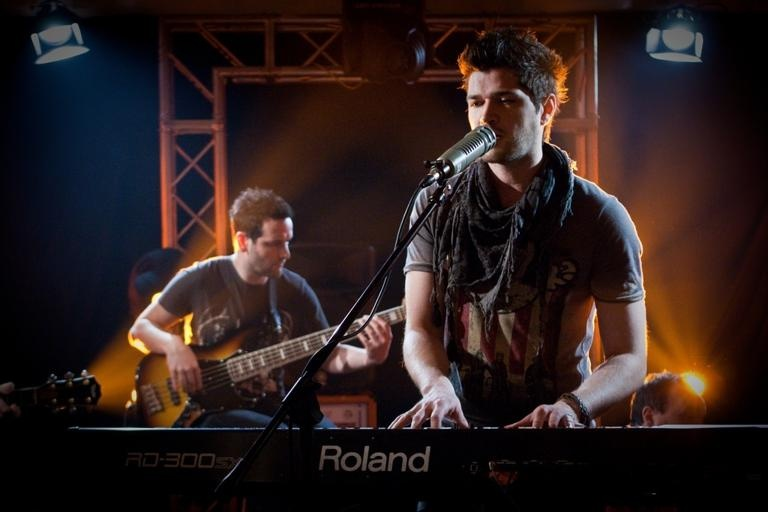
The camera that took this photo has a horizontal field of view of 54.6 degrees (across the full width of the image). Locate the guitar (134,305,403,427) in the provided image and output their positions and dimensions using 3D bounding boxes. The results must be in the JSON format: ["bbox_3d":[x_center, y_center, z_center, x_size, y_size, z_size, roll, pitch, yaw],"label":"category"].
[{"bbox_3d":[-0.948,0.979,6.485,2.565,0.921,0.305,-14,-9,-10],"label":"guitar"}]

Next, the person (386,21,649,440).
[{"bbox_3d":[0.738,-0.151,3.830,1.232,2.099,0.687,2,-1,0],"label":"person"}]

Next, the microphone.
[{"bbox_3d":[0.421,-0.508,3.595,0.143,0.132,0.651,-9,16,47],"label":"microphone"}]

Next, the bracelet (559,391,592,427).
[{"bbox_3d":[0.925,0.716,3.546,0.075,0.157,0.142,-43,6,28],"label":"bracelet"}]
